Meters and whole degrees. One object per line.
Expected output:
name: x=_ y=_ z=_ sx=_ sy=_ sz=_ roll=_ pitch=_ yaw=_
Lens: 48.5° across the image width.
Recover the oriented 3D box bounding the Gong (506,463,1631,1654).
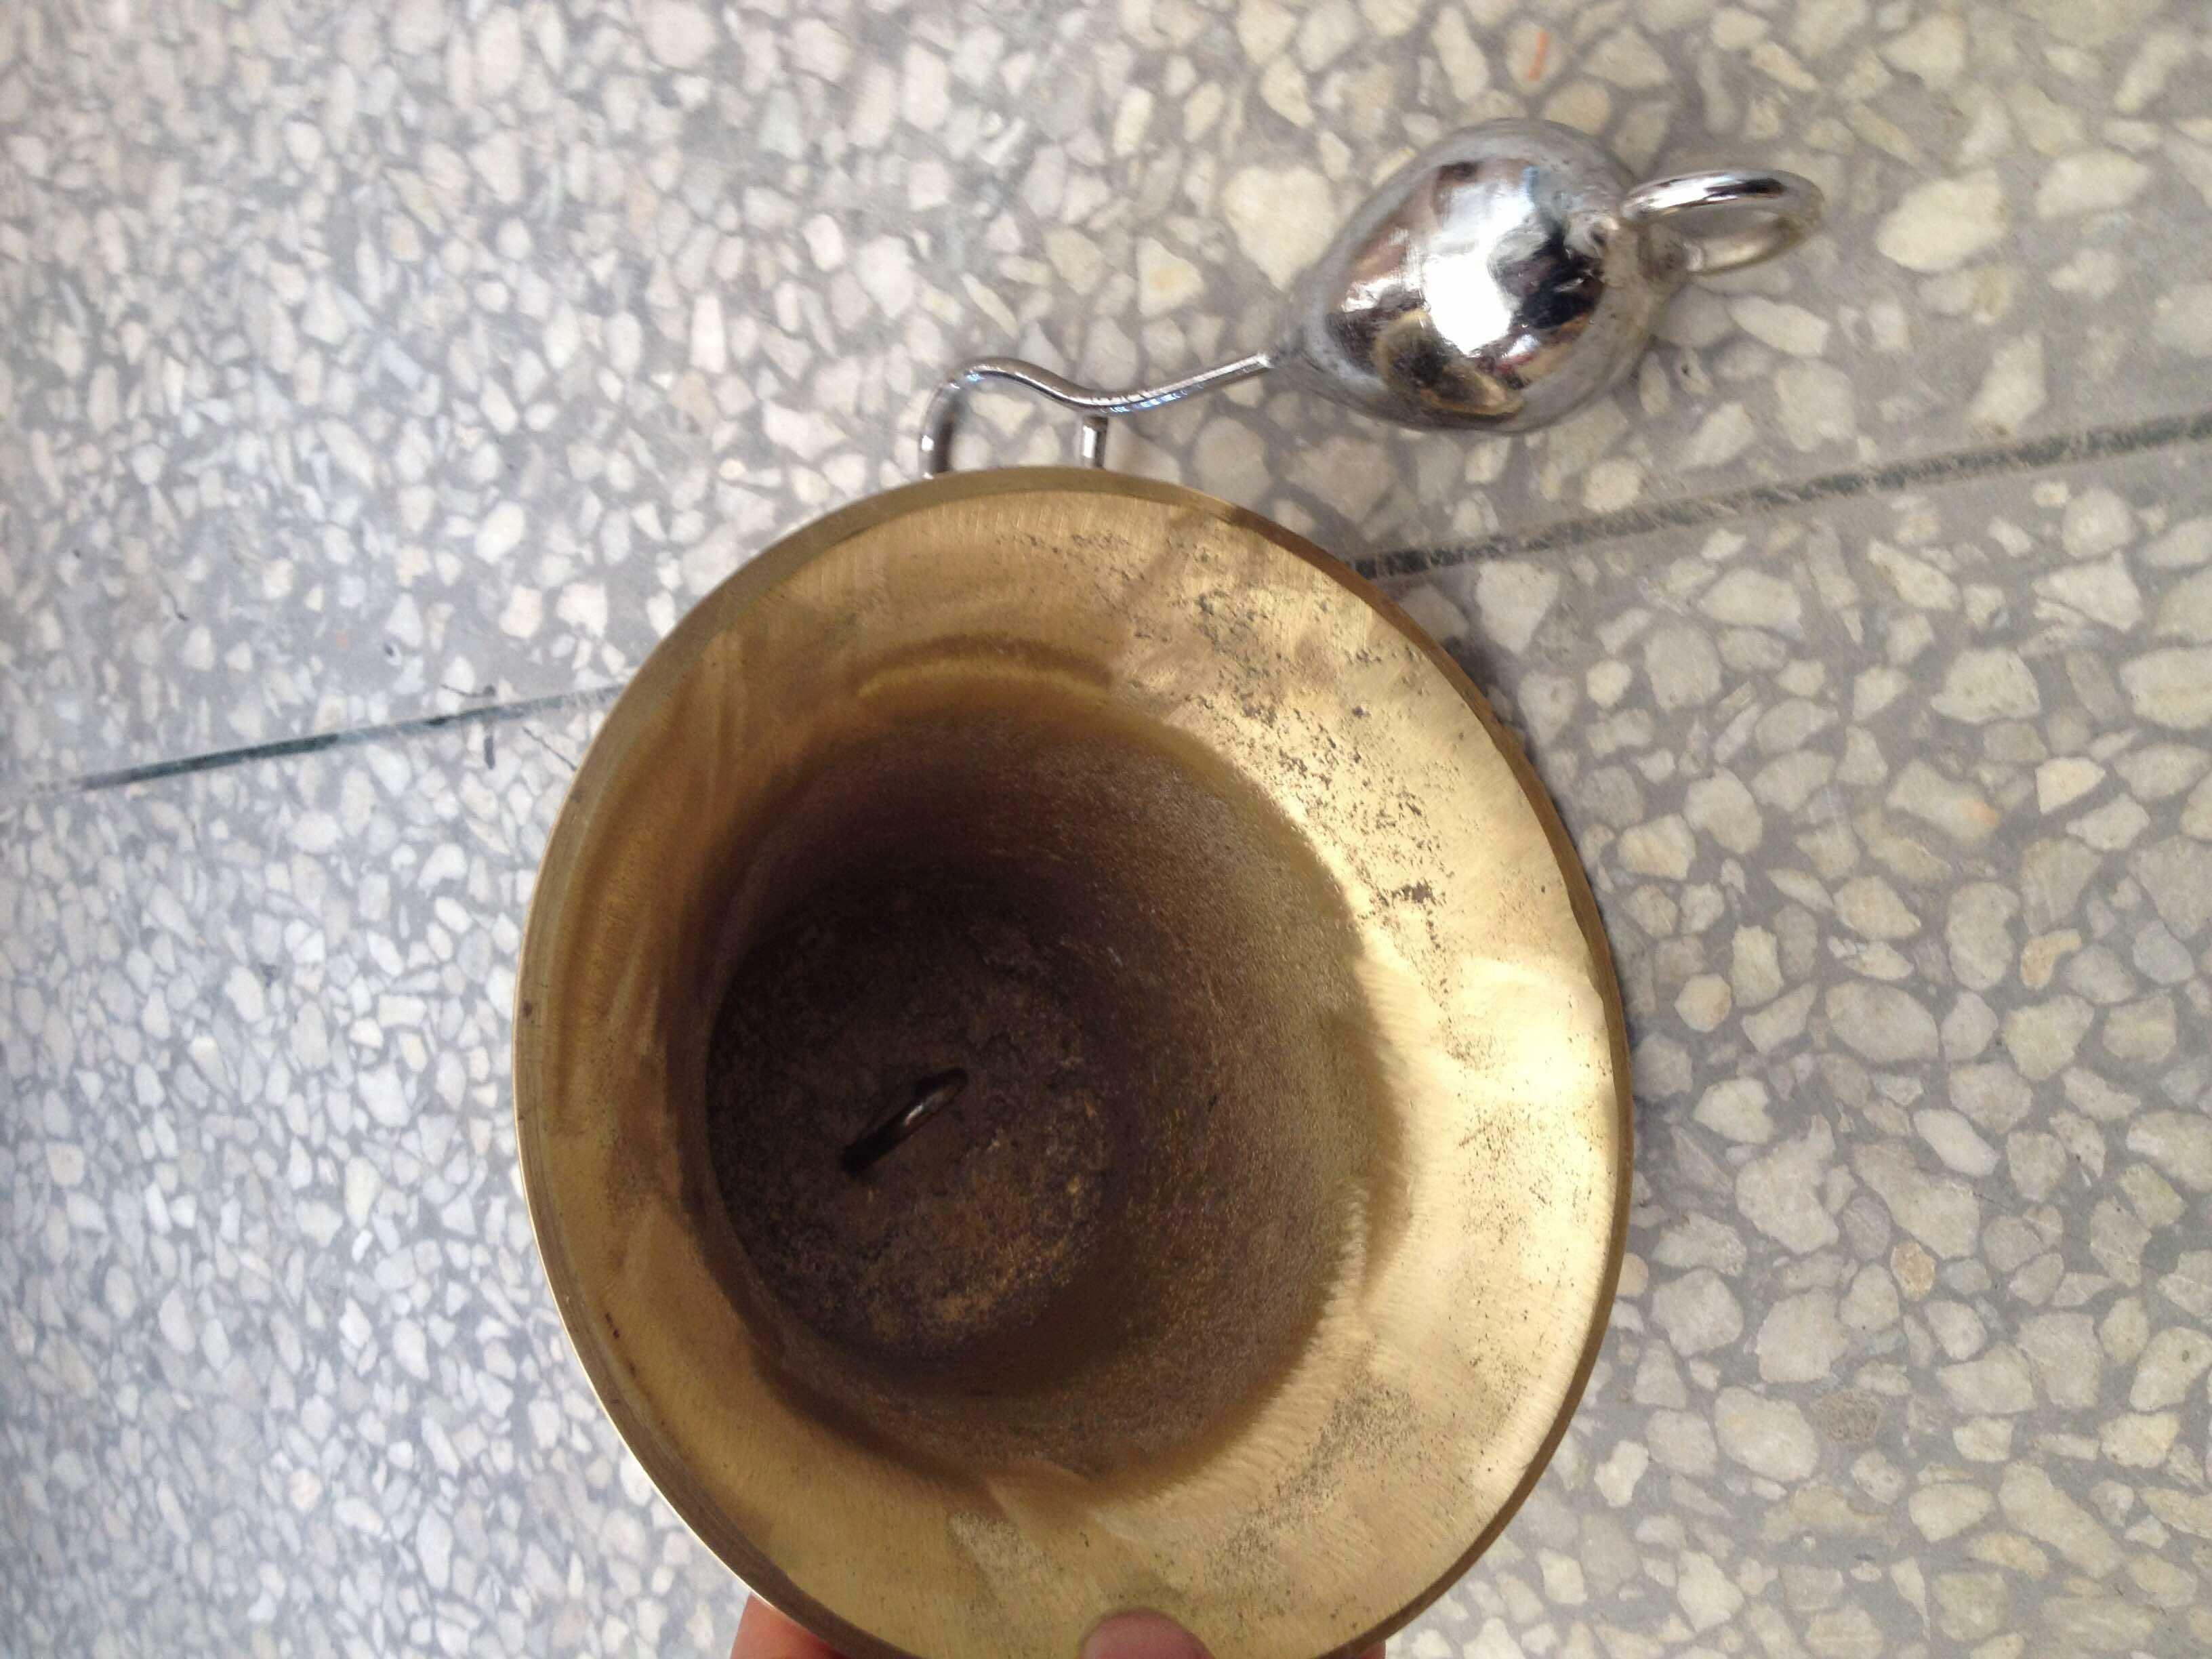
Gong: x=-0.013 y=0.142 z=1.360 sx=0.593 sy=0.186 sz=0.657 roll=-8 pitch=82 yaw=1
